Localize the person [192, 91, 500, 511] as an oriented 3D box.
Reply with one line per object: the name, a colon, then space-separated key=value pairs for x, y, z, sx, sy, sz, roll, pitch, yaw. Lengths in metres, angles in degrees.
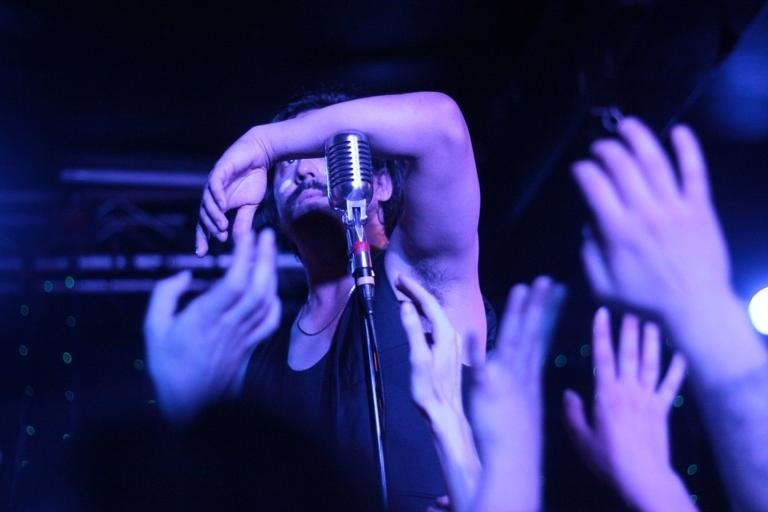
person: x=-0.080 y=0.165 z=2.297 sx=0.598 sy=0.706 sz=0.971 roll=22 pitch=53 yaw=-40
